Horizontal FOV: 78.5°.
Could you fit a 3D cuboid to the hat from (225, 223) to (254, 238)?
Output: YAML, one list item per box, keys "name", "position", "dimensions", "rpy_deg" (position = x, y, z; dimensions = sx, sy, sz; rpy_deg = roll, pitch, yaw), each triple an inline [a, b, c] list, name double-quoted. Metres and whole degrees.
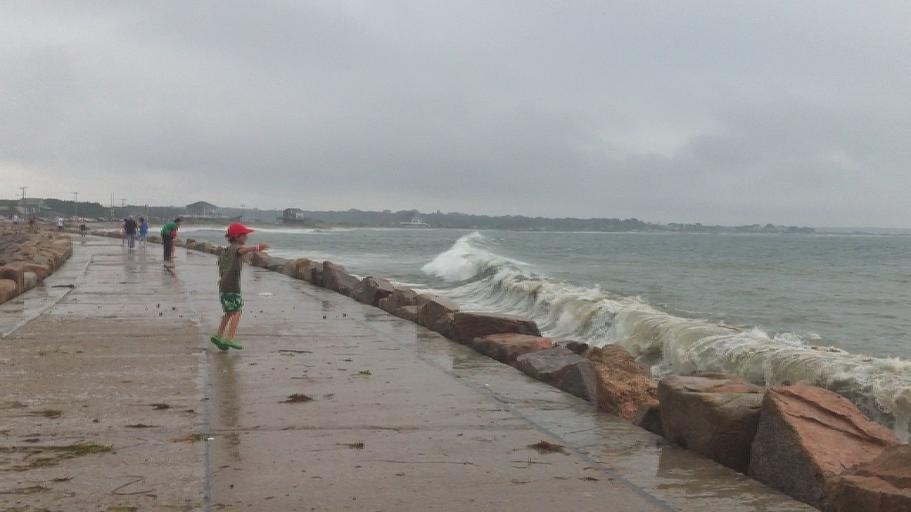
- name: "hat"
  position: [-4.043, -0.466, 10.476]
  dimensions: [0.393, 0.312, 0.546]
  rpy_deg: [-1, 10, -22]

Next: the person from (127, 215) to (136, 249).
- name: "person"
  position: [-19.836, -1.405, 34.326]
  dimensions: [0.389, 1.951, 1.214]
  rpy_deg: [-4, 13, -34]
